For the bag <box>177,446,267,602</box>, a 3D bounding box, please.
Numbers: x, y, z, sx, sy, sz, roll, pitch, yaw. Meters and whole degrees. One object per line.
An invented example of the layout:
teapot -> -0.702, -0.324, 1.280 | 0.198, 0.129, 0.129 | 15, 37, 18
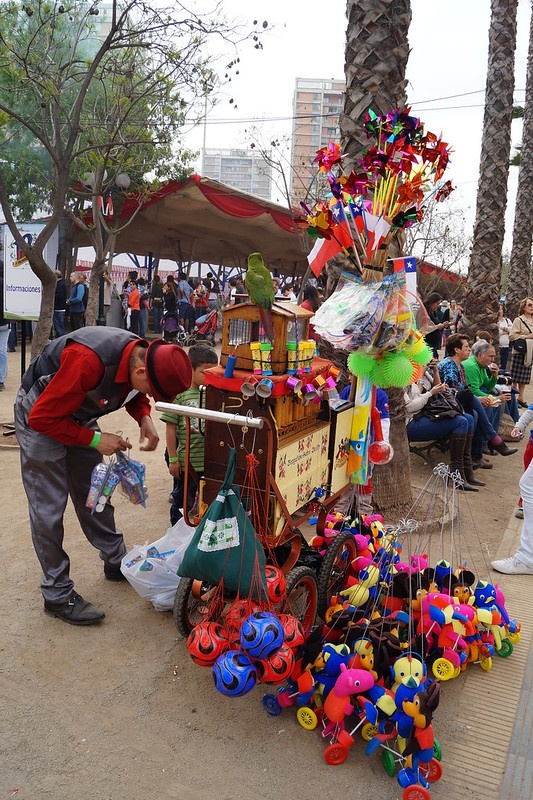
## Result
bag -> -0.161, 0.499, 2.238 | 0.359, 0.658, 0.202 | 2, 8, -8

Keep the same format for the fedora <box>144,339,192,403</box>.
fedora -> -0.466, -0.131, 2.691 | 0.218, 0.289, 0.250 | 2, 8, -8

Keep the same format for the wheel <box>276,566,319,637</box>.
wheel -> 0.179, 0.938, 2.739 | 0.097, 0.323, 0.324 | 3, 7, 17

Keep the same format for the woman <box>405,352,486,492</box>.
woman -> 1.878, 0.158, 6.253 | 0.858, 1.528, 0.638 | -5, -1, 45

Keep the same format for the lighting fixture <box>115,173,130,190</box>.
lighting fixture -> -3.003, -4.581, 11.802 | 0.262, 0.293, 0.714 | 1, 8, -16

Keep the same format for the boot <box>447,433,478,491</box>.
boot -> 2.083, 0.647, 6.015 | 0.294, 0.615, 0.519 | 9, 10, 35

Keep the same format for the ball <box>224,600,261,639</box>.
ball -> -0.112, 0.851, 2.247 | 0.143, 0.162, 0.140 | 8, -16, 2

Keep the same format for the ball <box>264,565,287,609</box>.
ball -> 0.035, 0.771, 2.372 | 0.117, 0.122, 0.160 | -1, -18, 4

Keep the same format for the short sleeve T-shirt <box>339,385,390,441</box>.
short sleeve T-shirt -> 0.596, 0.083, 3.490 | 0.264, 0.333, 0.116 | 17, 24, 38

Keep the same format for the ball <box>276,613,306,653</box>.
ball -> 0.097, 0.934, 2.285 | 0.113, 0.132, 0.118 | -7, -35, -5

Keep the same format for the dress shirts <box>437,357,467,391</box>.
dress shirts -> 2.194, -0.302, 6.732 | 0.185, 0.316, 0.320 | -18, 13, 13

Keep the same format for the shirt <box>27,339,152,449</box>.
shirt -> -0.882, -0.011, 2.773 | 0.434, 0.568, 0.364 | 4, 8, 4

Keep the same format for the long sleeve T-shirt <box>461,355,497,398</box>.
long sleeve T-shirt -> 2.648, -0.304, 6.946 | 0.518, 0.629, 0.490 | 1, 5, 23

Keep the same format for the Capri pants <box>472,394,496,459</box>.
Capri pants -> 2.606, 0.352, 6.814 | 0.291, 0.962, 0.258 | -27, 43, -3

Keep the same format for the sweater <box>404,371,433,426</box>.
sweater -> 1.668, 0.015, 6.272 | 0.261, 0.518, 0.708 | 7, 8, 20

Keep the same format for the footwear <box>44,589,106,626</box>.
footwear -> -0.999, 1.085, 3.043 | 0.344, 0.145, 0.138 | 8, 5, 13
